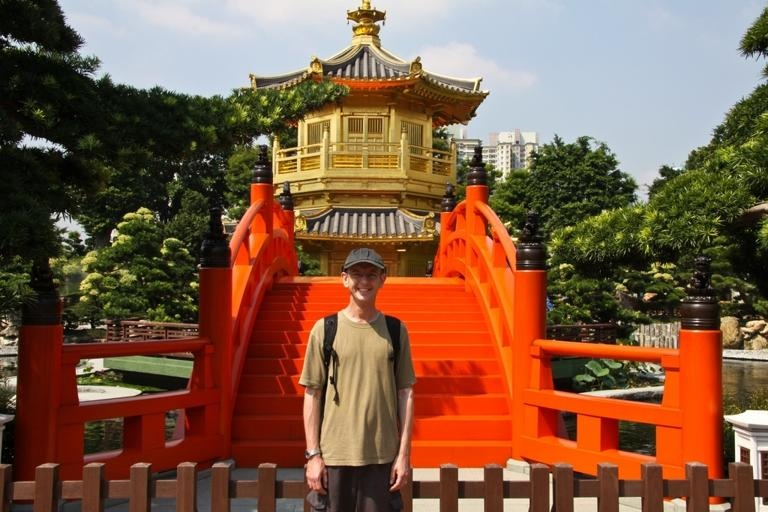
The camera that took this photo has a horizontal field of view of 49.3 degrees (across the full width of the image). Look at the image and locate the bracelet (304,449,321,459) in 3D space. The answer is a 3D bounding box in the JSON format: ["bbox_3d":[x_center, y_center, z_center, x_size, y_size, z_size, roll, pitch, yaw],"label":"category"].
[{"bbox_3d":[-0.580,1.650,6.958,0.139,0.085,0.124,5,-11,-27],"label":"bracelet"}]
